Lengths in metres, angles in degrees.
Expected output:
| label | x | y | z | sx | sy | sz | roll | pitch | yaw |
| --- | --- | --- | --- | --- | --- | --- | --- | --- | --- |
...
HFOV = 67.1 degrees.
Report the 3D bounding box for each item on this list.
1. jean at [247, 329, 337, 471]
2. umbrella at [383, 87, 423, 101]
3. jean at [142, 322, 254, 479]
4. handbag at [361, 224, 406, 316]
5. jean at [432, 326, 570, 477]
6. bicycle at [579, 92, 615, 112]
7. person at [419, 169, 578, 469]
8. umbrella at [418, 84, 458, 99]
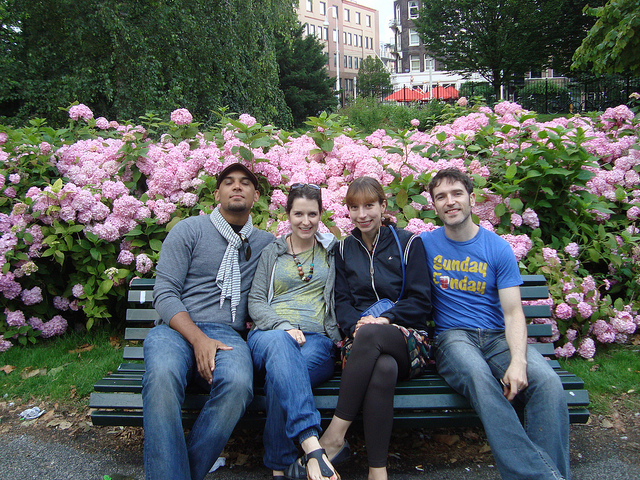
| label | x | y | z | sx | sy | sz | roll | pitch | yaw |
| --- | --- | --- | --- | --- | --- | --- | --- | --- | --- |
| jean | -0.273 | 1.247 | 3.876 | 0.689 | 0.996 | 0.462 | 1 | -27 | -45 |
| umbrella | 6.217 | -10.637 | 35.292 | 2.061 | 0.808 | 1.998 | 0 | 5 | 3 |
| jean | -0.905 | 1.293 | 3.741 | 0.816 | 1.129 | 0.885 | -4 | 11 | -10 |
| handbag | 0.528 | 0.309 | 3.964 | 0.393 | 0.526 | 0.145 | -1 | -31 | 21 |
| jean | 1.367 | 1.173 | 3.877 | 0.674 | 0.427 | 1.410 | -9 | 47 | -7 |
| bicycle | 13.001 | -6.511 | 22.619 | 1.331 | 0.874 | 2.114 | 1 | 11 | 19 |
| person | 1.332 | 0.506 | 3.774 | 0.825 | 2.086 | 1.264 | -3 | 11 | 0 |
| umbrella | 7.948 | -9.954 | 32.766 | 2.919 | 1.098 | 2.689 | -10 | 18 | -30 |
